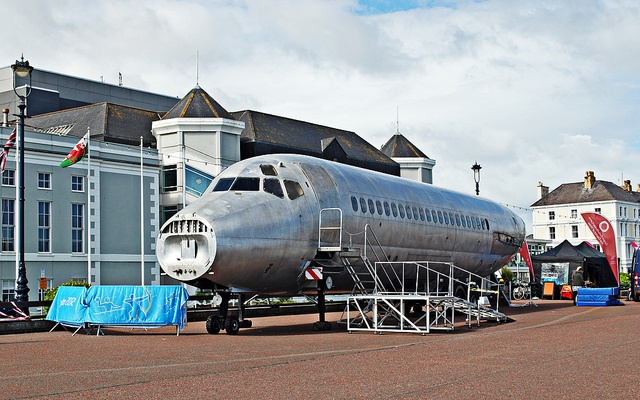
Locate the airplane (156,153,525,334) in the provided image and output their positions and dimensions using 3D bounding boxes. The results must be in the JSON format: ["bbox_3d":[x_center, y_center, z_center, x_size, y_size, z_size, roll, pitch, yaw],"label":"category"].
[{"bbox_3d":[0.501,1.448,41.687,6.775,5.853,24.483,-3,-4,41],"label":"airplane"}]

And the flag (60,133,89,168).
[{"bbox_3d":[-13.786,-2.893,52.328,1.356,0.354,3.993,-6,29,0],"label":"flag"}]
